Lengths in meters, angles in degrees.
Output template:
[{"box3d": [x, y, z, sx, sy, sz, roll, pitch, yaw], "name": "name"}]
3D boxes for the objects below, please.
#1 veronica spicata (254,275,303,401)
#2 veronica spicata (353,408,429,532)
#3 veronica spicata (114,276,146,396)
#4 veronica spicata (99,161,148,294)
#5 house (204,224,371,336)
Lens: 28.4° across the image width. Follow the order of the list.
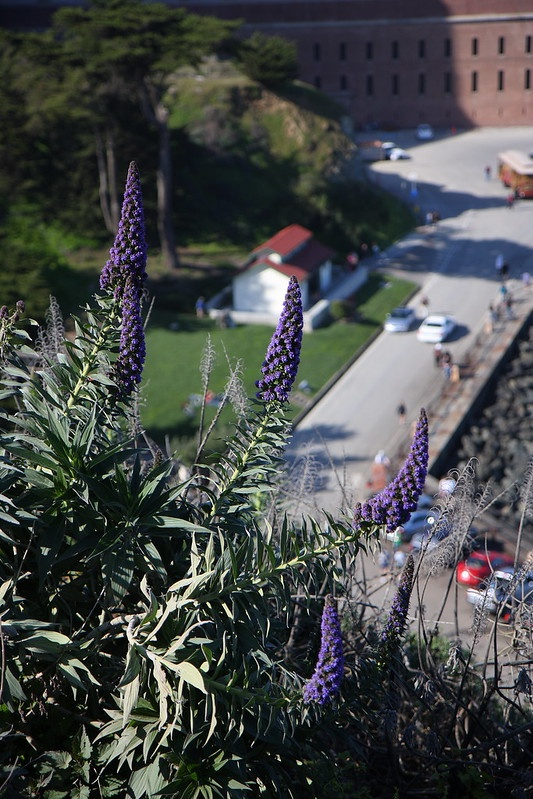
[{"box3d": [0.071, -0.298, 5.521, 0.218, 0.761, 0.287, 3, 18, -1], "name": "veronica spicata"}, {"box3d": [0.642, 0.373, 5.385, 0.340, 0.699, 0.273, 5, 18, 6], "name": "veronica spicata"}, {"box3d": [-0.734, -0.307, 5.686, 0.150, 0.691, 0.205, 0, 18, -8], "name": "veronica spicata"}, {"box3d": [-0.762, -0.909, 5.649, 0.242, 0.721, 0.324, 0, 18, -10], "name": "veronica spicata"}, {"box3d": [0.379, -2.796, 24.515, 3.229, 1.733, 4.183, 7, 30, 25], "name": "house"}]
